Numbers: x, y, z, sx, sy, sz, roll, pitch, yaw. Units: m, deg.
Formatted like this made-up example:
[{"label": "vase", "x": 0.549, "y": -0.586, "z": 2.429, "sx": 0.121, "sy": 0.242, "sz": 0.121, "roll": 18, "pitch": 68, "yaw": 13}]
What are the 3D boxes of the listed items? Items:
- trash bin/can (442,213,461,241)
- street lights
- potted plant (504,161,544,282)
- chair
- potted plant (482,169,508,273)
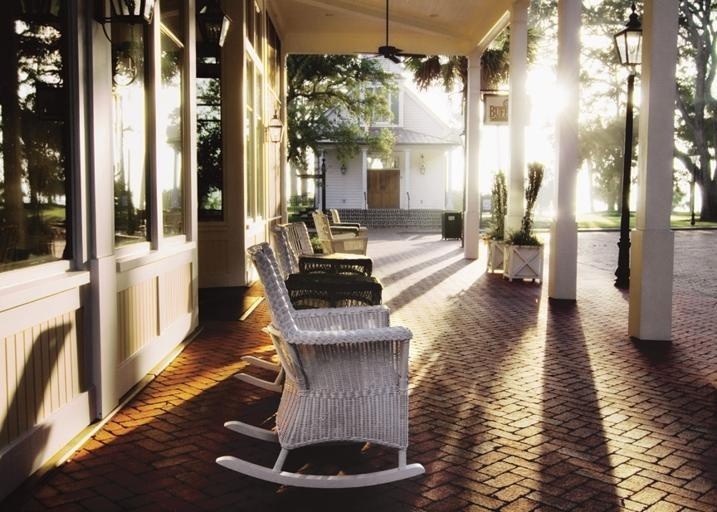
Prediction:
[{"label": "trash bin/can", "x": 3.080, "y": -1.056, "z": 19.574, "sx": 0.728, "sy": 1.100, "sz": 0.749, "roll": 0, "pitch": 3, "yaw": 15}, {"label": "street lights", "x": 4.387, "y": -1.792, "z": 9.648, "sx": 0.428, "sy": 4.589, "sz": 0.963, "roll": 4, "pitch": 8, "yaw": 24}, {"label": "potted plant", "x": 2.950, "y": -0.604, "z": 10.289, "sx": 0.675, "sy": 2.109, "sz": 0.661, "roll": 2, "pitch": 8, "yaw": 14}, {"label": "chair", "x": -0.257, "y": 0.749, "z": 4.278, "sx": 1.445, "sy": 1.764, "sz": 1.222, "roll": 0, "pitch": -2, "yaw": -6}, {"label": "potted plant", "x": 2.770, "y": -0.647, "z": 11.345, "sx": 0.587, "sy": 1.995, "sz": 0.610, "roll": 1, "pitch": 9, "yaw": 17}]
